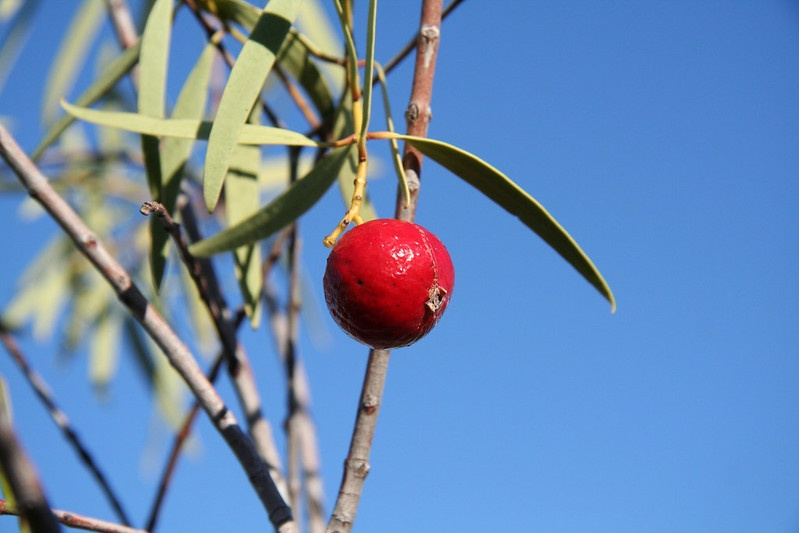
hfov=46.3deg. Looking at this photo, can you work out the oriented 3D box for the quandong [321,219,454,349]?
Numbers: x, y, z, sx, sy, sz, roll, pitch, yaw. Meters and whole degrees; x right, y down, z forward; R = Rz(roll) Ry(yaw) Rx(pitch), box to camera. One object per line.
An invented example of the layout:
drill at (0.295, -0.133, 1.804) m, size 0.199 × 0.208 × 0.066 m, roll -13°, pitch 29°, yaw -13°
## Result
quandong at (-0.016, 0.031, 1.573) m, size 0.183 × 0.220 × 0.241 m, roll 5°, pitch -84°, yaw 5°
